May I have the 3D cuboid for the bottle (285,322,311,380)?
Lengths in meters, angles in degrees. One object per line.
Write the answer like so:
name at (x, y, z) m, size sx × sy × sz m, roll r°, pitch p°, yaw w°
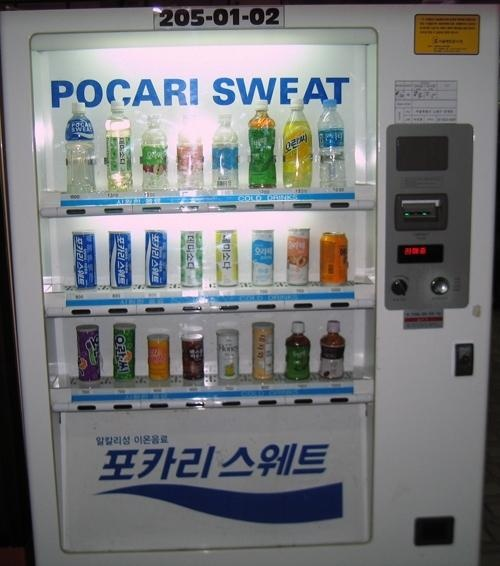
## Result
bottle at (0.191, 0.275, 2.293) m, size 0.103 × 0.233 × 0.132 m, roll -2°, pitch 9°, yaw 4°

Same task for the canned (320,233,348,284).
canned at (0.331, -0.094, 2.214) m, size 0.102 × 0.200 × 0.059 m, roll -2°, pitch 9°, yaw 6°

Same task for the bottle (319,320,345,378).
bottle at (0.336, 0.267, 2.318) m, size 0.099 × 0.230 × 0.196 m, roll -2°, pitch 9°, yaw 8°

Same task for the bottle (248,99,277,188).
bottle at (0.048, -0.547, 2.247) m, size 0.117 × 0.333 × 0.278 m, roll -3°, pitch 9°, yaw 3°

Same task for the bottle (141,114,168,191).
bottle at (-0.382, -0.513, 2.227) m, size 0.111 × 0.299 × 0.353 m, roll -5°, pitch 9°, yaw -9°

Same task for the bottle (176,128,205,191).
bottle at (-0.234, -0.479, 2.167) m, size 0.103 × 0.237 × 0.190 m, roll -4°, pitch 9°, yaw -6°

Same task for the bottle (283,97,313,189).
bottle at (0.184, -0.534, 2.228) m, size 0.113 × 0.300 × 0.090 m, roll -3°, pitch 9°, yaw 3°
